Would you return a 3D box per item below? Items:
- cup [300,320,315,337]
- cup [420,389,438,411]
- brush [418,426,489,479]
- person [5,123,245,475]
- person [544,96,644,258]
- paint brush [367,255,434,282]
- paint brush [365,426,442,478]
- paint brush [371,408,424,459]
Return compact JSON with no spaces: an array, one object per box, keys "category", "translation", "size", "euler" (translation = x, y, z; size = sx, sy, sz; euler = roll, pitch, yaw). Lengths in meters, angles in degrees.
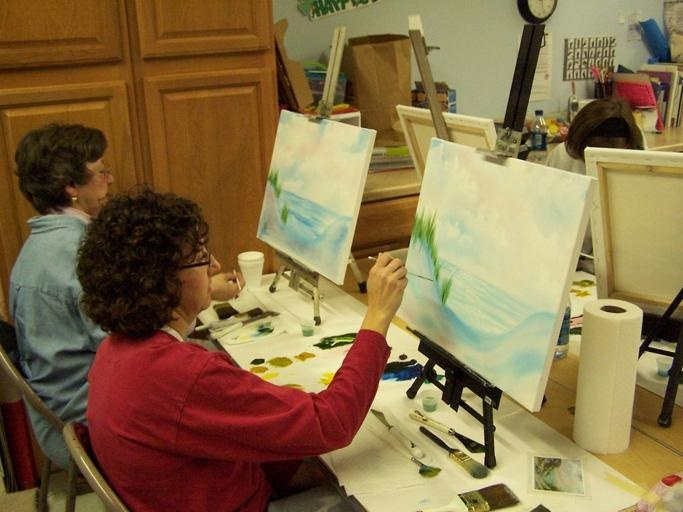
[{"category":"cup","translation":[-0.114,0.248,1.809],"size":[0.045,0.035,0.043],"euler":[-1,27,0]},{"category":"cup","translation":[0.248,0.398,1.465],"size":[0.031,0.036,0.050],"euler":[-4,19,-2]},{"category":"brush","translation":[0.310,0.455,1.314],"size":[0.145,0.052,0.183],"euler":[-7,20,-38]},{"category":"person","translation":[-0.766,0.011,1.748],"size":[0.538,1.077,0.560],"euler":[-15,23,-37]},{"category":"person","translation":[1.216,-0.261,2.522],"size":[0.510,0.995,0.404],"euler":[3,20,22]},{"category":"paint brush","translation":[0.168,0.036,1.436],"size":[0.242,0.019,0.032],"euler":[20,-10,40]},{"category":"paint brush","translation":[0.175,0.457,1.286],"size":[0.046,0.022,0.178],"euler":[-9,20,-22]},{"category":"paint brush","translation":[0.143,0.447,1.338],"size":[0.039,0.034,0.228],"euler":[-29,21,-7]}]
